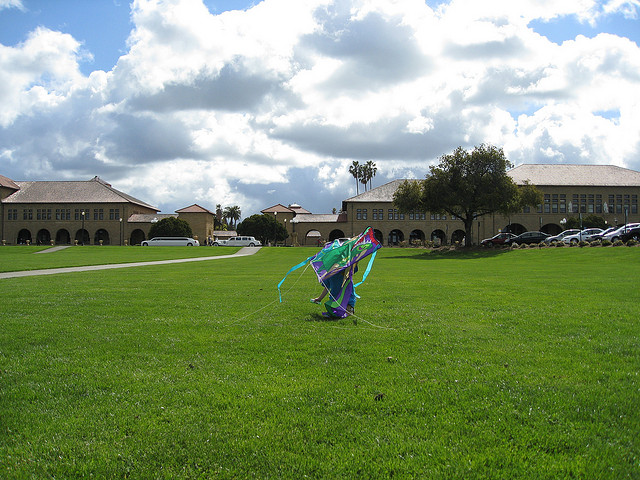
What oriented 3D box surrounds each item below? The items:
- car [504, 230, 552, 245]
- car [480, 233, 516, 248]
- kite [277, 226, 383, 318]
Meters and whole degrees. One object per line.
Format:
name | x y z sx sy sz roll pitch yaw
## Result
car | 19.831 -0.150 52.642 3.478 0.983 1.992 -2 13 -10
car | 16.925 -0.231 53.361 3.668 1.581 1.797 1 -2 14
kite | 0.177 0.839 13.474 2.490 1.968 2.209 -16 16 -42
